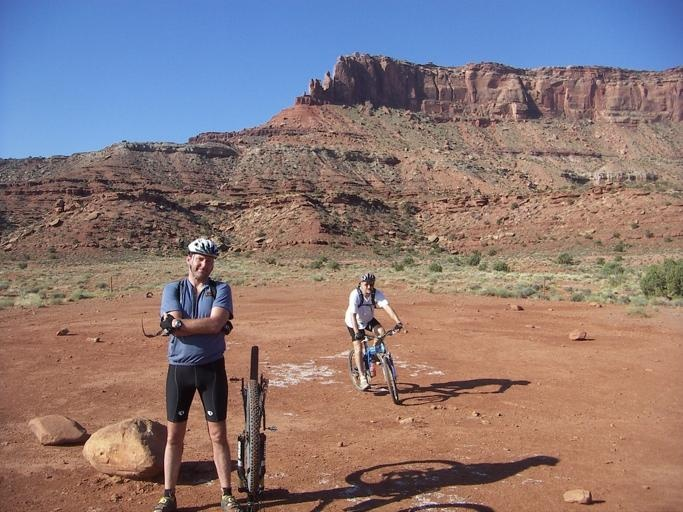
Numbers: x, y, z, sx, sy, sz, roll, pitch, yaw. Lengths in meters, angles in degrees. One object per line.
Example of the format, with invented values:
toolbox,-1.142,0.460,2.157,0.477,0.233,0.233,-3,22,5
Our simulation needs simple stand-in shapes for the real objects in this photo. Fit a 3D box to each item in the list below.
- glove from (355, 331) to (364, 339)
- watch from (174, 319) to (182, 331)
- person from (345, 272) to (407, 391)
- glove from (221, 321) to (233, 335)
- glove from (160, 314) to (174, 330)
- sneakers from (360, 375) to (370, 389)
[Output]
glove,0.332,1.408,10.745,0.116,0.056,0.154,-4,0,-35
watch,-2.010,0.835,7.380,0.070,0.099,0.109,38,58,18
person,0.550,1.390,11.194,0.929,2.247,1.452,-1,3,1
glove,-1.458,0.901,7.650,0.061,0.131,0.167,-35,21,40
glove,-2.173,0.804,7.406,0.213,0.186,0.108,1,4,32
sneakers,0.423,2.299,11.001,0.132,0.218,0.201,-2,3,-10
